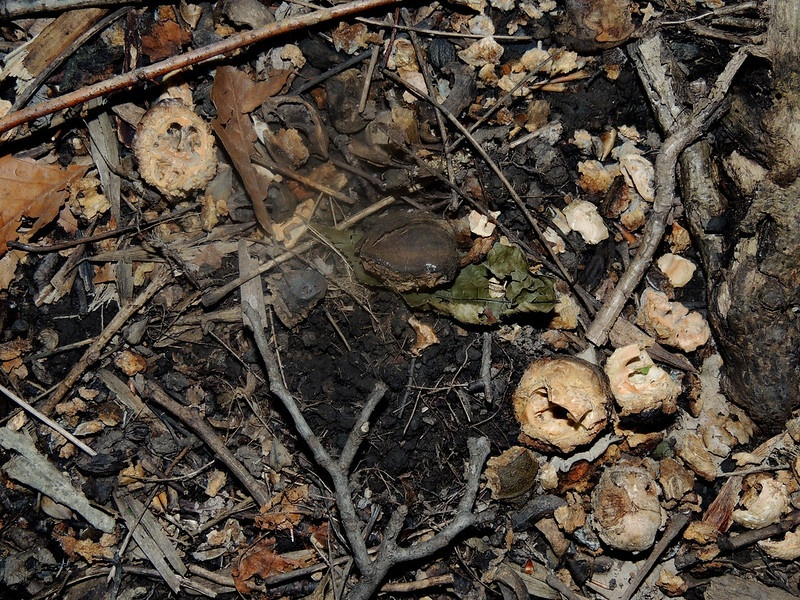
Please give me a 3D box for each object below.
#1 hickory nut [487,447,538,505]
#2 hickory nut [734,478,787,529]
[{"bbox_3d":[0.856,1.318,6.114,0.416,0.166,0.373,-22,79,-7],"label":"hickory nut"},{"bbox_3d":[2.716,1.553,6.101,0.290,0.094,0.425,42,79,6],"label":"hickory nut"}]
